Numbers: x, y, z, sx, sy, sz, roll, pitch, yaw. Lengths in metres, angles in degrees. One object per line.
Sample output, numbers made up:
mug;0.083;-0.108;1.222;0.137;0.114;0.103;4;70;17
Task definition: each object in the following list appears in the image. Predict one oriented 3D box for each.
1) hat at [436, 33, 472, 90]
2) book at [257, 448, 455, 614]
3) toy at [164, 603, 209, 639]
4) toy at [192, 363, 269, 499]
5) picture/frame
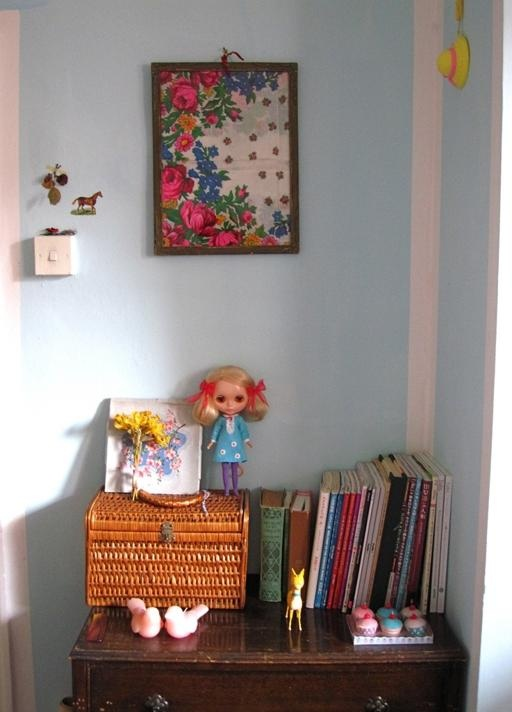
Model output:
hat;0.393;-0.572;1.305;0.044;0.087;0.100;-2;7;-8
book;0.227;0.347;1.671;0.446;0.426;0.323;3;1;2
toy;-0.144;0.560;1.426;0.053;0.056;0.083;2;11;30
toy;-0.064;0.182;1.658;0.189;0.314;0.103;-1;8;-5
picture/frame;-0.078;-0.505;1.641;0.472;0.585;0.040;0;6;-1
